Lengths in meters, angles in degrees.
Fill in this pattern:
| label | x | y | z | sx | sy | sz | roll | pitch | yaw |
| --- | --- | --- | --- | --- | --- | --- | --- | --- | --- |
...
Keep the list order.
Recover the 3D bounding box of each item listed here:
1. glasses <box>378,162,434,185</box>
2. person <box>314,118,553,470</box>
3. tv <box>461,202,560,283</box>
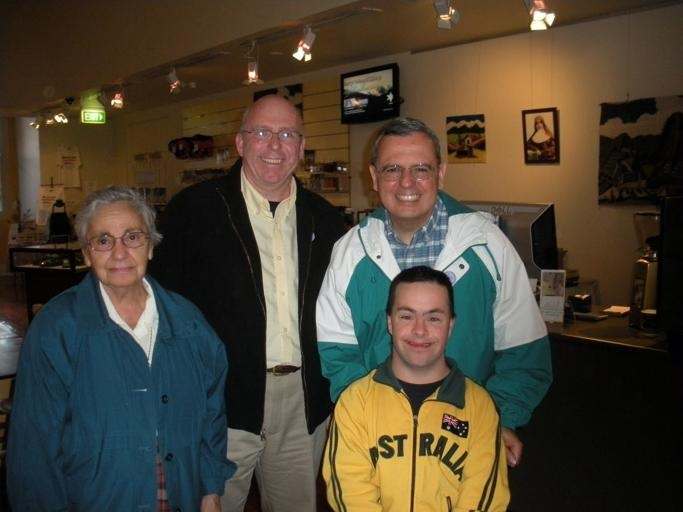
| label | x | y | z | sx | sy | sz | roll | pitch | yaw |
| --- | --- | --- | --- | --- | --- | --- | --- | --- | --- |
| glasses | 0.295 | -0.370 | 2.394 | 0.245 | 0.083 | 0.060 | -1 | 4 | 8 |
| person | 0.400 | 0.200 | 2.519 | 1.087 | 1.548 | 0.700 | -1 | 10 | 21 |
| tv | 0.969 | -0.067 | 2.999 | 0.176 | 0.404 | 0.483 | -16 | 17 | -42 |
